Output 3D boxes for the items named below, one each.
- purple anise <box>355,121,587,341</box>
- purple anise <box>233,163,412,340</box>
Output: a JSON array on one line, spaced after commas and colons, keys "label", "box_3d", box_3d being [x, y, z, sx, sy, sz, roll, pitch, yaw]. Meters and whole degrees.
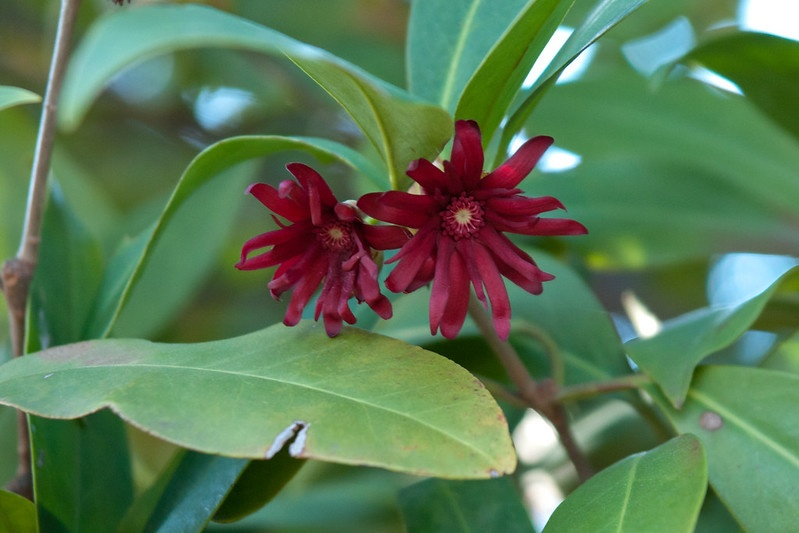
[{"label": "purple anise", "box_3d": [0.075, -0.046, 0.973, 0.255, 0.266, 0.128, 7, -13, 5]}, {"label": "purple anise", "box_3d": [-0.110, -0.028, 0.995, 0.240, 0.228, 0.111, 1, 28, 36]}]
